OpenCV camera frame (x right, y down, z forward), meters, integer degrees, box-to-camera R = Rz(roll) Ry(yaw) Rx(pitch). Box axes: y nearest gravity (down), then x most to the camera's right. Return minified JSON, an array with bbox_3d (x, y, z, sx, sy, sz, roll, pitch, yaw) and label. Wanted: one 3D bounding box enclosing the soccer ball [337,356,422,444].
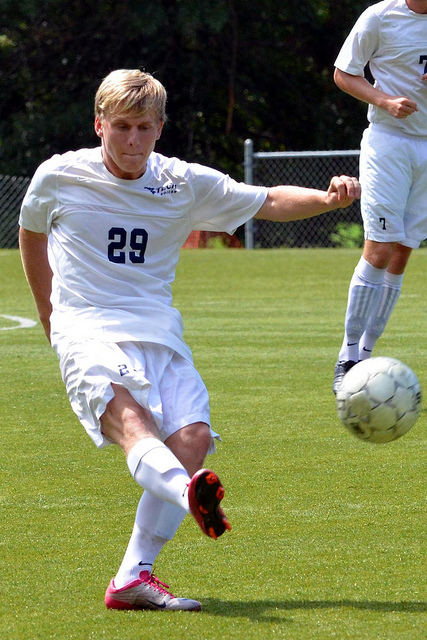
[{"bbox_3d":[0.509,0.256,2.884,0.261,0.259,0.158,6,12,32],"label":"soccer ball"}]
